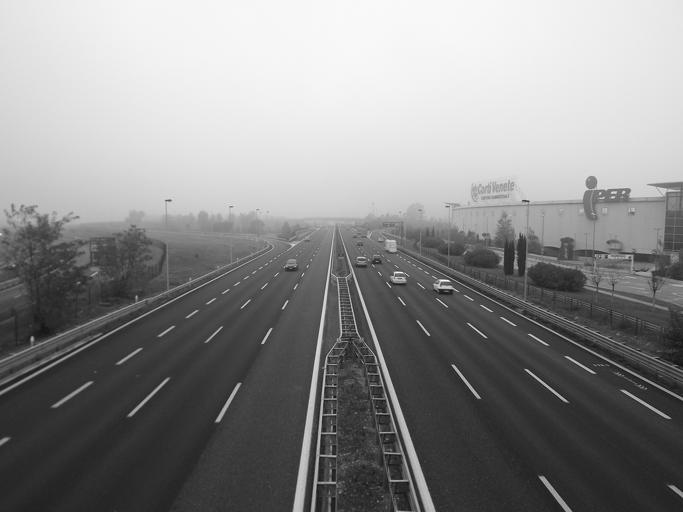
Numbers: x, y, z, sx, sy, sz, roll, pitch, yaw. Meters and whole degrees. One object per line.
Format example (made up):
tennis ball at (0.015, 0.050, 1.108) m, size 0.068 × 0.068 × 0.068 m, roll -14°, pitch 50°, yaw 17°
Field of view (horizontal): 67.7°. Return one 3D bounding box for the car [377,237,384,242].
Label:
car at (9.970, -4.163, 129.247) m, size 1.532 × 1.526 × 1.351 m, roll -1°, pitch 10°, yaw 18°

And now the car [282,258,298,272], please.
car at (-6.552, 1.150, 64.860) m, size 1.168 × 1.128 × 3.022 m, roll -2°, pitch 0°, yaw -1°

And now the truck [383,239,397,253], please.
truck at (9.048, -1.665, 90.949) m, size 1.359 × 2.320 × 3.975 m, roll -1°, pitch 3°, yaw -4°

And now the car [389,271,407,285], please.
car at (6.066, 2.377, 54.038) m, size 0.977 × 0.962 × 1.901 m, roll 0°, pitch 10°, yaw 0°

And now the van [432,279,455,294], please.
van at (9.966, 2.999, 49.922) m, size 1.064 × 1.032 × 2.020 m, roll 0°, pitch 11°, yaw 2°
